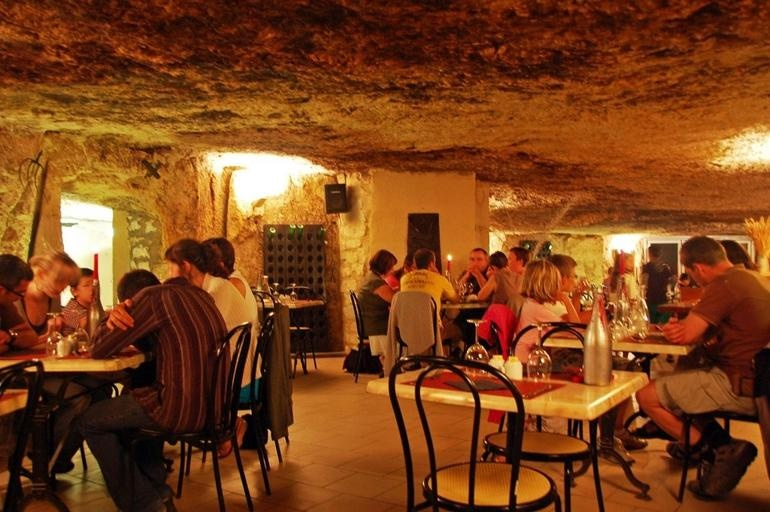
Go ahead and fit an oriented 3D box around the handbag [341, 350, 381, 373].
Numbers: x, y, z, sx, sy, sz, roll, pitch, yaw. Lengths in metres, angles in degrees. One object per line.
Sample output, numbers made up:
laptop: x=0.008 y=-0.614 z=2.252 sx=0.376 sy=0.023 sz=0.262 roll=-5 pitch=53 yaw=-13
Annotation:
handbag: x=-0.339 y=1.516 z=8.002 sx=0.486 sy=0.284 sz=0.342 roll=-1 pitch=-11 yaw=11
